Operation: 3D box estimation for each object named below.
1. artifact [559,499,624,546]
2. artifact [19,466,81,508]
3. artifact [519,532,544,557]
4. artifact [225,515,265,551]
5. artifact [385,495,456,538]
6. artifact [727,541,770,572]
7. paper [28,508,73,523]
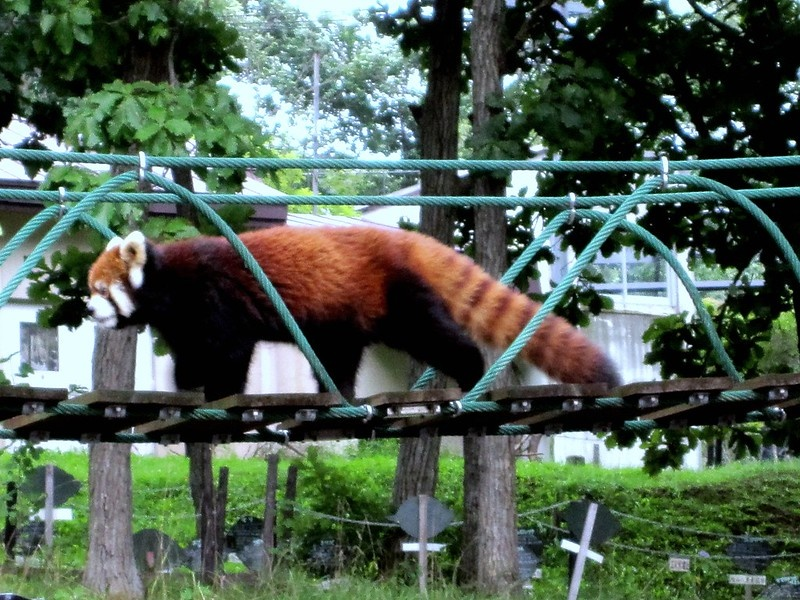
[{"bbox_3d":[2.214,2.553,19.754,0.620,0.521,0.600,0,-5,1],"label":"artifact"},{"bbox_3d":[-4.317,2.318,21.416,0.729,0.500,0.495,2,-6,-19],"label":"artifact"},{"bbox_3d":[1.839,3.361,23.794,0.229,0.103,0.338,10,5,-9],"label":"artifact"},{"bbox_3d":[-2.021,3.126,22.707,0.469,0.375,0.291,1,-5,-6],"label":"artifact"},{"bbox_3d":[0.300,2.547,20.304,0.623,0.489,0.361,1,-5,-1],"label":"artifact"},{"bbox_3d":[4.712,3.439,23.228,0.612,0.419,0.716,-1,-5,19],"label":"artifact"},{"bbox_3d":[-4.350,2.677,21.525,0.896,0.117,0.202,-2,-18,38],"label":"paper"}]
